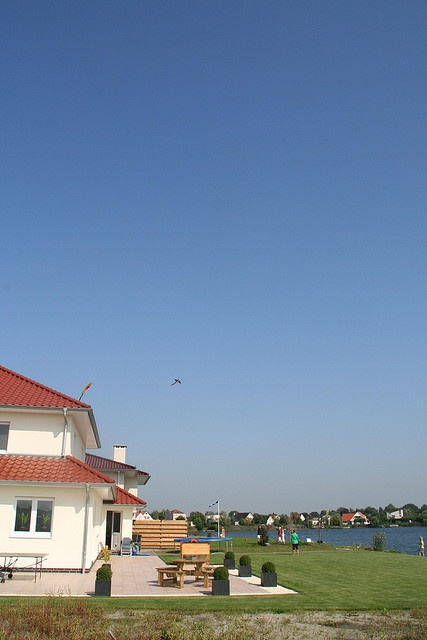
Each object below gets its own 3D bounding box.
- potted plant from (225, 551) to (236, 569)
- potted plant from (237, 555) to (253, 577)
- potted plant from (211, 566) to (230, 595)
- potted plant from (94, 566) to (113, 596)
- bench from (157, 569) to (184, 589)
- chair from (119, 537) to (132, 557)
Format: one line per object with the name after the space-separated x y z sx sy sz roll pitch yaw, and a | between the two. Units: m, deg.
0.606 9.324 21.487 0.490 0.844 0.490 1 -17 -2 | potted plant
1.061 8.403 18.887 0.560 0.928 0.544 1 -22 -3 | potted plant
0.188 6.906 14.637 0.548 0.922 0.497 1 -22 -3 | potted plant
-2.729 6.391 13.581 0.392 0.676 0.610 1 -21 -13 | potted plant
-1.272 7.573 16.231 0.891 0.455 0.922 0 -21 0 | bench
-4.543 11.667 28.537 0.519 0.789 0.768 1 -22 -4 | chair
